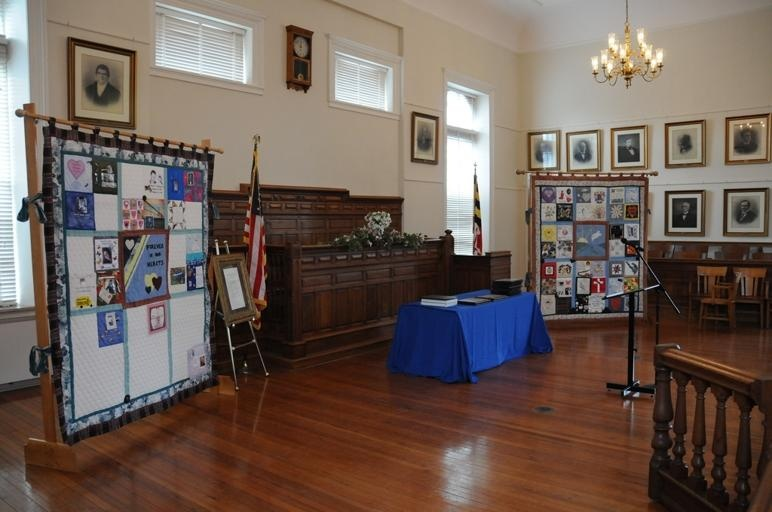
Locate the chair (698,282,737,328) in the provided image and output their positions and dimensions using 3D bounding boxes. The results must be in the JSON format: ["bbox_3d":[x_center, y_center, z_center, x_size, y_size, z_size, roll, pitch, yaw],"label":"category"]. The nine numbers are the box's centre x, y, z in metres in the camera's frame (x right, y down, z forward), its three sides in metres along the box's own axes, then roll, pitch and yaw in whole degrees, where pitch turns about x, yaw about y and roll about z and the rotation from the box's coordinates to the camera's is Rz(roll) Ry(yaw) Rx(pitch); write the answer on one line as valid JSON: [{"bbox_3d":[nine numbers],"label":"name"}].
[{"bbox_3d":[6.190,0.884,10.099,0.552,0.900,1.256,6,14,31],"label":"chair"}]

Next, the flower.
[{"bbox_3d":[-0.094,-0.361,8.870,0.470,0.719,2.007,9,15,38],"label":"flower"}]

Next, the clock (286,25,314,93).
[{"bbox_3d":[-1.446,-3.307,9.080,0.487,1.062,0.276,-5,12,-22],"label":"clock"}]

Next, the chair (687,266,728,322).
[{"bbox_3d":[5.963,0.712,10.104,0.668,0.942,0.721,-1,8,7],"label":"chair"}]

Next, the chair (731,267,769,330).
[{"bbox_3d":[6.796,0.734,10.055,0.626,1.023,0.840,7,14,33],"label":"chair"}]

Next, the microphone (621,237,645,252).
[{"bbox_3d":[4.080,-0.187,8.964,0.445,0.138,0.099,24,-6,-34],"label":"microphone"}]

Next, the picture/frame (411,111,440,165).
[{"bbox_3d":[0.822,-2.459,11.293,0.224,1.079,0.902,8,15,39],"label":"picture/frame"}]

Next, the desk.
[{"bbox_3d":[1.323,1.141,8.183,1.521,0.971,2.461,4,4,44],"label":"desk"}]

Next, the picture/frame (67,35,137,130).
[{"bbox_3d":[-3.738,-2.275,7.146,0.810,1.098,0.236,-8,13,-31],"label":"picture/frame"}]

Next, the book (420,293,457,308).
[{"bbox_3d":[0.727,0.616,7.329,0.507,0.125,0.245,0,12,4],"label":"book"}]

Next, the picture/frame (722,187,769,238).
[{"bbox_3d":[7.738,-0.936,11.575,0.991,1.391,0.111,1,-2,31],"label":"picture/frame"}]

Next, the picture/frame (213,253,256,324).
[{"bbox_3d":[-1.964,0.428,7.097,0.271,0.914,0.595,7,14,34],"label":"picture/frame"}]
